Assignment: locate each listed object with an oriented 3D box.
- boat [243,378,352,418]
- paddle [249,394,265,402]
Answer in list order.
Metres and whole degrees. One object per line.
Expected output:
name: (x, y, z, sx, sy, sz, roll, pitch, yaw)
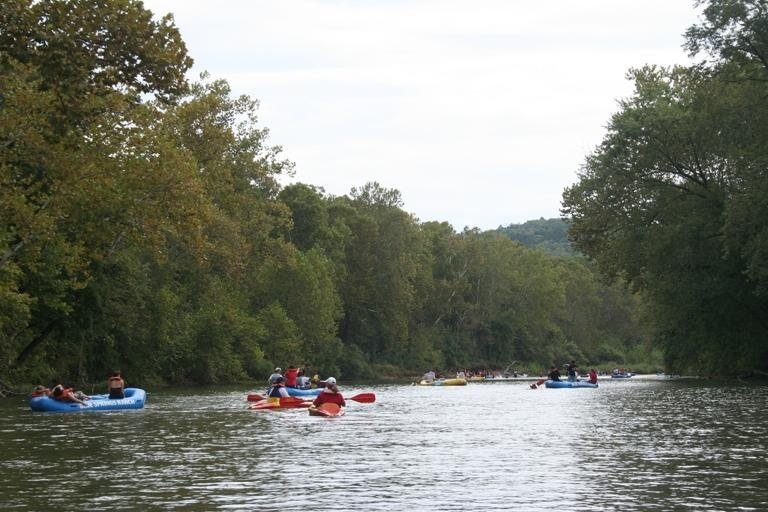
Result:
boat: (-4.942, 8.876, 75.917, 7.051, 1.918, 2.171, -4, 3, 30)
paddle: (-8.124, 8.995, 80.197, 0.415, 0.406, 1.537, -2, -10, -25)
